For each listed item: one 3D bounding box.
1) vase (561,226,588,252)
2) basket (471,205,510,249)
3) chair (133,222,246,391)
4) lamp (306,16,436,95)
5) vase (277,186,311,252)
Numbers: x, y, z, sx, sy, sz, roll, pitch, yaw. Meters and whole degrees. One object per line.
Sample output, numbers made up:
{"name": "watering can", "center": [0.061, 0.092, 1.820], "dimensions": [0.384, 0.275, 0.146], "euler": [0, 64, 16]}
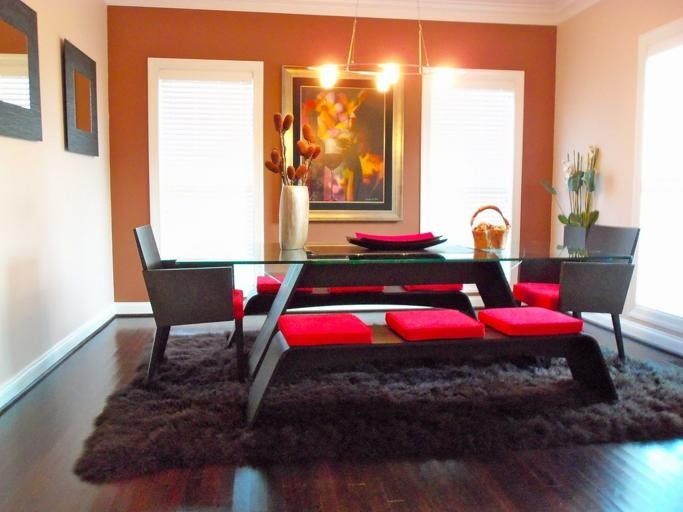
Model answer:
{"name": "vase", "center": [2.045, -0.149, 4.586], "dimensions": [0.230, 0.255, 0.236], "euler": [0, -3, 4]}
{"name": "basket", "center": [1.032, -0.200, 3.654], "dimensions": [0.253, 0.341, 0.197], "euler": [-2, 9, 21]}
{"name": "chair", "center": [-0.938, 0.307, 3.968], "dimensions": [0.904, 1.366, 0.890], "euler": [0, 5, -9]}
{"name": "lamp", "center": [0.225, -1.981, 5.134], "dimensions": [1.305, 0.870, 1.038], "euler": [4, 14, 2]}
{"name": "vase", "center": [-0.322, -0.259, 3.540], "dimensions": [0.200, 0.435, 0.265], "euler": [-2, 13, -8]}
